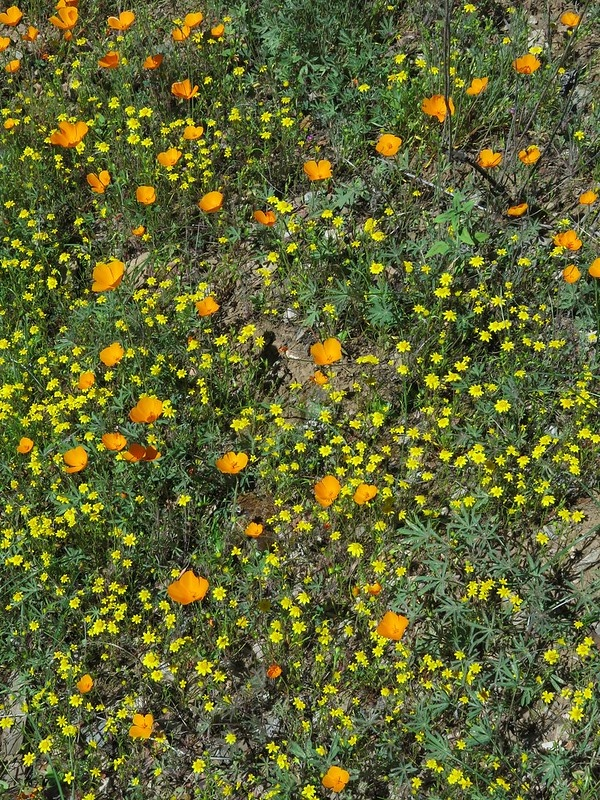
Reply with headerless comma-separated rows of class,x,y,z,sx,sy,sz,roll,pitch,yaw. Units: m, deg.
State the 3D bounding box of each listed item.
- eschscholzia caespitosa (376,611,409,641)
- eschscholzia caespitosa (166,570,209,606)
eschscholzia caespitosa,0.313,0.780,2.592,0.085,0.187,0.077,22,65,12
eschscholzia caespitosa,-0.395,0.671,2.705,0.134,0.150,0.108,16,64,8
